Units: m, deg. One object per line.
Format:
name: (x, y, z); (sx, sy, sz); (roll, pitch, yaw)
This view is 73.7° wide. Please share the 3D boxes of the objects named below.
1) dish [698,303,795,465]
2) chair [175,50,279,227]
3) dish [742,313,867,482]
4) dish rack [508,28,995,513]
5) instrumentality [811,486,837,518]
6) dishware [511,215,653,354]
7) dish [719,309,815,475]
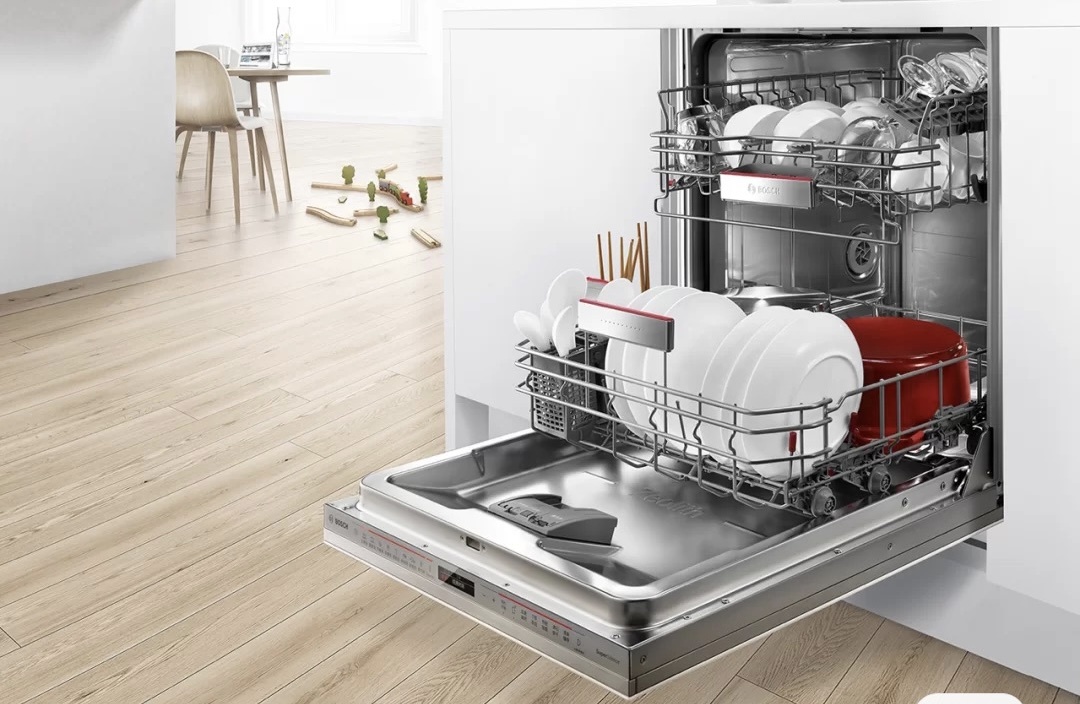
dish: (0.272, 0.042, 1.007); (0.047, 0.192, 0.206); (15, -9, 28)
chair: (-2.190, -1.524, 5.118); (0.669, 1.081, 1.661); (-10, 19, -23)
dish: (0.350, 0.048, 0.990); (0.234, 0.217, 0.059); (29, -13, -40)
dish rack: (0.374, -0.169, 1.213); (0.546, 0.597, 0.700); (-25, 27, -27)
instrumentality: (0.372, 0.199, 0.949); (0.042, 0.032, 0.015); (24, -11, -31)
dishware: (0.112, -0.128, 1.318); (0.078, 0.139, 0.462); (-10, 18, 34)
dish: (0.309, 0.068, 0.950); (0.126, 0.207, 0.222); (6, 20, 21)
